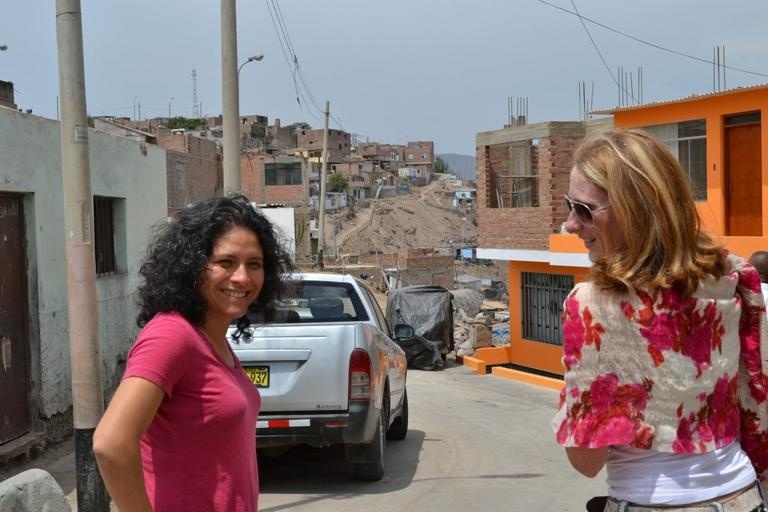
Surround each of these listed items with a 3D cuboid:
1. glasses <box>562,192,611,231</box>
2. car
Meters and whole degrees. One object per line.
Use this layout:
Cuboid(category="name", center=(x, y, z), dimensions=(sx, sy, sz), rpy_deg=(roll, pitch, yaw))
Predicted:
Cuboid(category="glasses", center=(1.023, -0.216, 4.245), dimensions=(0.174, 0.082, 0.172), rpy_deg=(2, 8, -19))
Cuboid(category="car", center=(-0.527, 1.115, 8.654), dimensions=(1.207, 1.123, 2.569), rpy_deg=(0, 1, 6))
